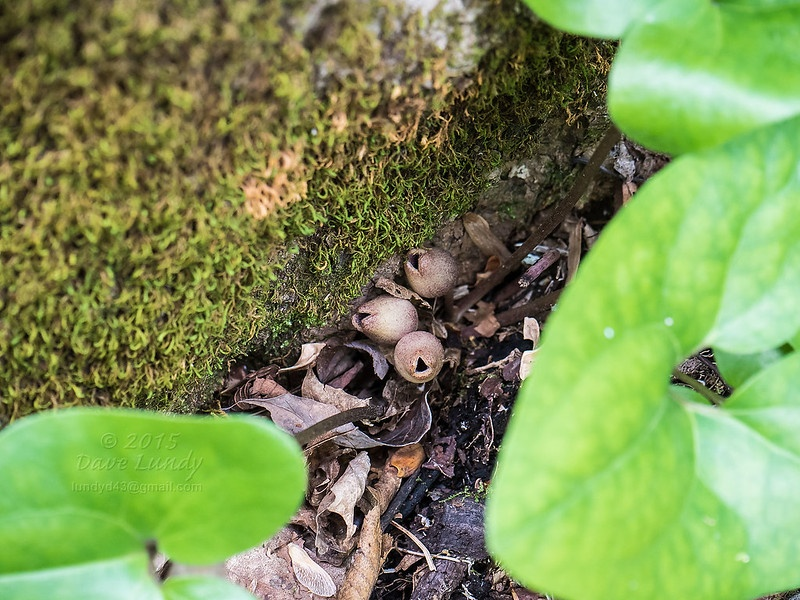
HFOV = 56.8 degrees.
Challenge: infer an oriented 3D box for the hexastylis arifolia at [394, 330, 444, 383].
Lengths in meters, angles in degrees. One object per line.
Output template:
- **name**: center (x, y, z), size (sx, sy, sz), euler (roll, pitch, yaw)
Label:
- **hexastylis arifolia**: center (0.039, 0.137, 1.906), size (0.131, 0.144, 0.158), euler (5, 10, -11)

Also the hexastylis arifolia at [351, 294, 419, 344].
- **hexastylis arifolia**: center (-0.038, 0.047, 1.904), size (0.142, 0.112, 0.114), euler (-2, 89, -15)
